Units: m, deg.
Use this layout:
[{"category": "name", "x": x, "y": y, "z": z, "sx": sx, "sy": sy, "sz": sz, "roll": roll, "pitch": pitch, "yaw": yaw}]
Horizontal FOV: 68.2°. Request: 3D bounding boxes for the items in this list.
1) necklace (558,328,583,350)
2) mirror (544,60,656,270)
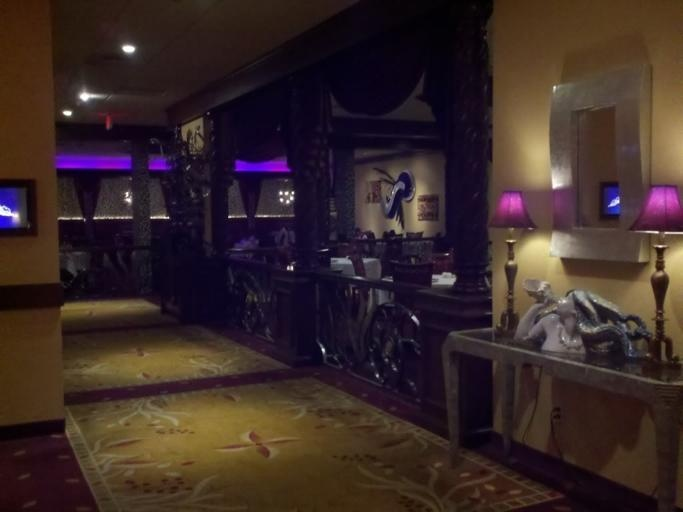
[{"category": "necklace", "x": 1.269, "y": 0.468, "z": 2.796, "sx": 0.102, "sy": 0.114, "sz": 0.074, "roll": 5, "pitch": -9, "yaw": 1}, {"category": "mirror", "x": 1.546, "y": -0.527, "z": 3.033, "sx": 0.115, "sy": 1.092, "sz": 0.617, "roll": -4, "pitch": 5, "yaw": -31}]
